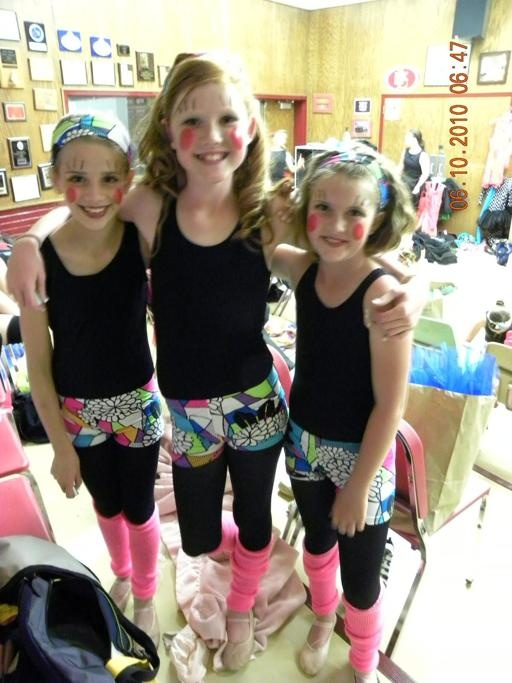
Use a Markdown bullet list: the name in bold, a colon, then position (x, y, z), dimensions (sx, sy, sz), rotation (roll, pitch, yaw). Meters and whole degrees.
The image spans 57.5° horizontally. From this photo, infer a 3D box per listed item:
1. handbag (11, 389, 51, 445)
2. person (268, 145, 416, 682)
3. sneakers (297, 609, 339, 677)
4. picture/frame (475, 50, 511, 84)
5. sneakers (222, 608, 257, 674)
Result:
- **handbag**: position (-1.376, 0.466, 2.955), dimensions (0.275, 0.382, 0.132), rotation (0, 14, 8)
- **person**: position (0.209, 0.309, 1.251), dimensions (0.302, 1.531, 0.409), rotation (0, 24, 0)
- **sneakers**: position (0.208, 0.930, 1.518), dimensions (0.075, 0.084, 0.229), rotation (13, 43, 16)
- **picture/frame**: position (3.539, -4.091, 6.905), dimensions (0.457, 0.472, 0.051), rotation (34, 52, 28)
- **sneakers**: position (-0.059, 0.962, 1.552), dimensions (0.092, 0.092, 0.258), rotation (-2, 14, 4)
